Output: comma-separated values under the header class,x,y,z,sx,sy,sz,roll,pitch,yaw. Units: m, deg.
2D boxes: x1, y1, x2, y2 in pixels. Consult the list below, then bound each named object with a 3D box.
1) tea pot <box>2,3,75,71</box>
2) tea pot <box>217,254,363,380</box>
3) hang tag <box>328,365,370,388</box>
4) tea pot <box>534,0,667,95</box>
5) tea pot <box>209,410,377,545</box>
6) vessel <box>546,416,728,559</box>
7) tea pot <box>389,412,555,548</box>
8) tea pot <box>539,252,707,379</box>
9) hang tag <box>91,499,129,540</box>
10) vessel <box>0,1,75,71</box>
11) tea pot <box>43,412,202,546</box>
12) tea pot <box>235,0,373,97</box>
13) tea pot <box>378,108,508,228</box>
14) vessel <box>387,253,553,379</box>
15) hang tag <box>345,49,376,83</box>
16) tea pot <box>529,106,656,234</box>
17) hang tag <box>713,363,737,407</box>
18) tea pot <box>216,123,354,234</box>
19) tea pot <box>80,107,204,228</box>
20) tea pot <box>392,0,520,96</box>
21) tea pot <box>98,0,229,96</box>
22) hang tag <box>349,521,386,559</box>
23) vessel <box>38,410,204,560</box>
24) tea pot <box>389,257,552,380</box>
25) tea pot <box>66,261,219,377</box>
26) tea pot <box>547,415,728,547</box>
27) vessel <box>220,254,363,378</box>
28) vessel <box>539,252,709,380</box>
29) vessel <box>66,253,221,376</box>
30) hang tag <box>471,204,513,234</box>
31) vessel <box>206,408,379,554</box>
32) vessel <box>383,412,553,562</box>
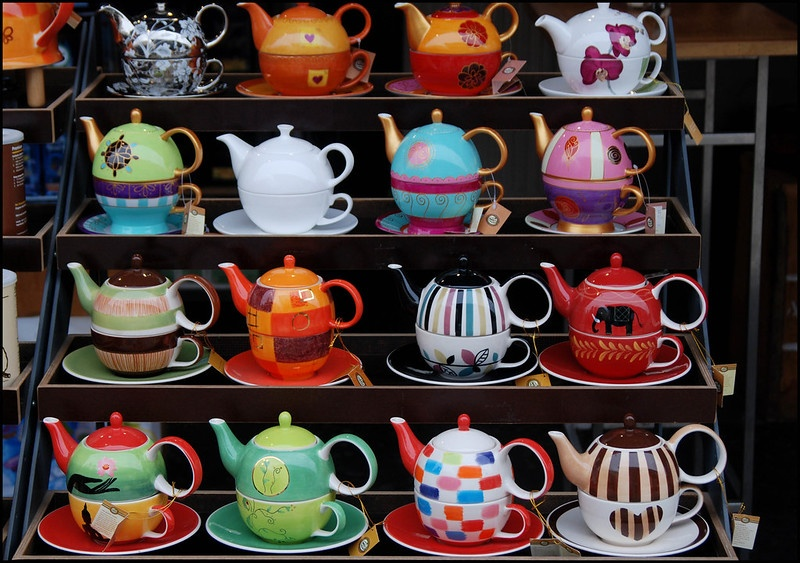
class,x,y,z,sx,sy,sz,roll,pitch,yaw
tea pot,-0.779,-0.528,1.500,0.180,0.136,0.118,22,33,40
tea pot,-0.221,0.070,1.424,0.286,0.241,0.176,2,12,7
hang tag,-0.098,0.196,1.414,0.050,0.020,0.036,-21,41,-16
tea pot,0.434,-0.509,1.542,0.255,0.178,0.185,2,21,1
tea pot,-0.225,0.387,1.404,0.335,0.232,0.202,5,2,10
vessel,0.473,0.391,1.388,0.328,0.230,0.199,-2,9,7
tea pot,0.131,0.387,1.395,0.343,0.250,0.200,1,2,30
tea pot,0.451,0.065,1.414,0.312,0.243,0.138,-6,14,-16
hang tag,-0.555,0.452,1.338,0.072,0.077,0.015,1,14,11
vessel,-0.779,-0.525,1.492,0.118,0.137,0.181,-24,32,-39
tea pot,-0.555,0.384,1.412,0.313,0.242,0.205,5,7,11
tea pot,-0.198,-0.553,1.507,0.328,0.232,0.224,3,26,3
tea pot,0.092,-0.232,1.512,0.316,0.292,0.221,8,24,18
vessel,0.148,0.072,1.462,0.312,0.246,0.201,0,12,2
hang tag,-0.084,-0.494,1.613,0.066,0.071,0.016,6,0,25
tea pot,0.383,-0.252,1.510,0.288,0.262,0.196,14,24,37
hang tag,0.631,0.194,1.388,0.045,0.059,0.039,-6,14,-37
tea pot,-0.215,-0.231,1.486,0.275,0.202,0.184,7,17,11
tea pot,-0.558,-0.249,1.532,0.273,0.250,0.187,7,16,11
tea pot,0.119,-0.514,1.547,0.249,0.175,0.173,-3,22,-11
tea pot,-0.486,-0.499,1.542,0.281,0.200,0.184,-1,18,-12
hang tag,-0.067,0.511,1.390,0.050,0.016,0.080,5,49,51
vessel,-0.529,0.384,1.422,0.282,0.218,0.281,9,9,8
tea pot,0.148,0.065,1.440,0.330,0.241,0.145,-6,14,-17
tea pot,-0.536,0.066,1.459,0.305,0.235,0.183,5,10,4
tea pot,0.477,0.385,1.383,0.314,0.240,0.194,-3,7,11
vessel,-0.220,0.071,1.427,0.286,0.245,0.177,2,11,9
vessel,0.453,0.065,1.430,0.313,0.248,0.192,4,11,25
vessel,-0.529,0.065,1.458,0.286,0.247,0.184,4,10,2
hang tag,0.182,-0.127,1.451,0.067,0.069,0.022,23,-11,33
vessel,-0.224,0.388,1.412,0.337,0.253,0.319,3,2,18
vessel,0.137,0.341,1.437,0.288,0.223,0.280,3,7,20
